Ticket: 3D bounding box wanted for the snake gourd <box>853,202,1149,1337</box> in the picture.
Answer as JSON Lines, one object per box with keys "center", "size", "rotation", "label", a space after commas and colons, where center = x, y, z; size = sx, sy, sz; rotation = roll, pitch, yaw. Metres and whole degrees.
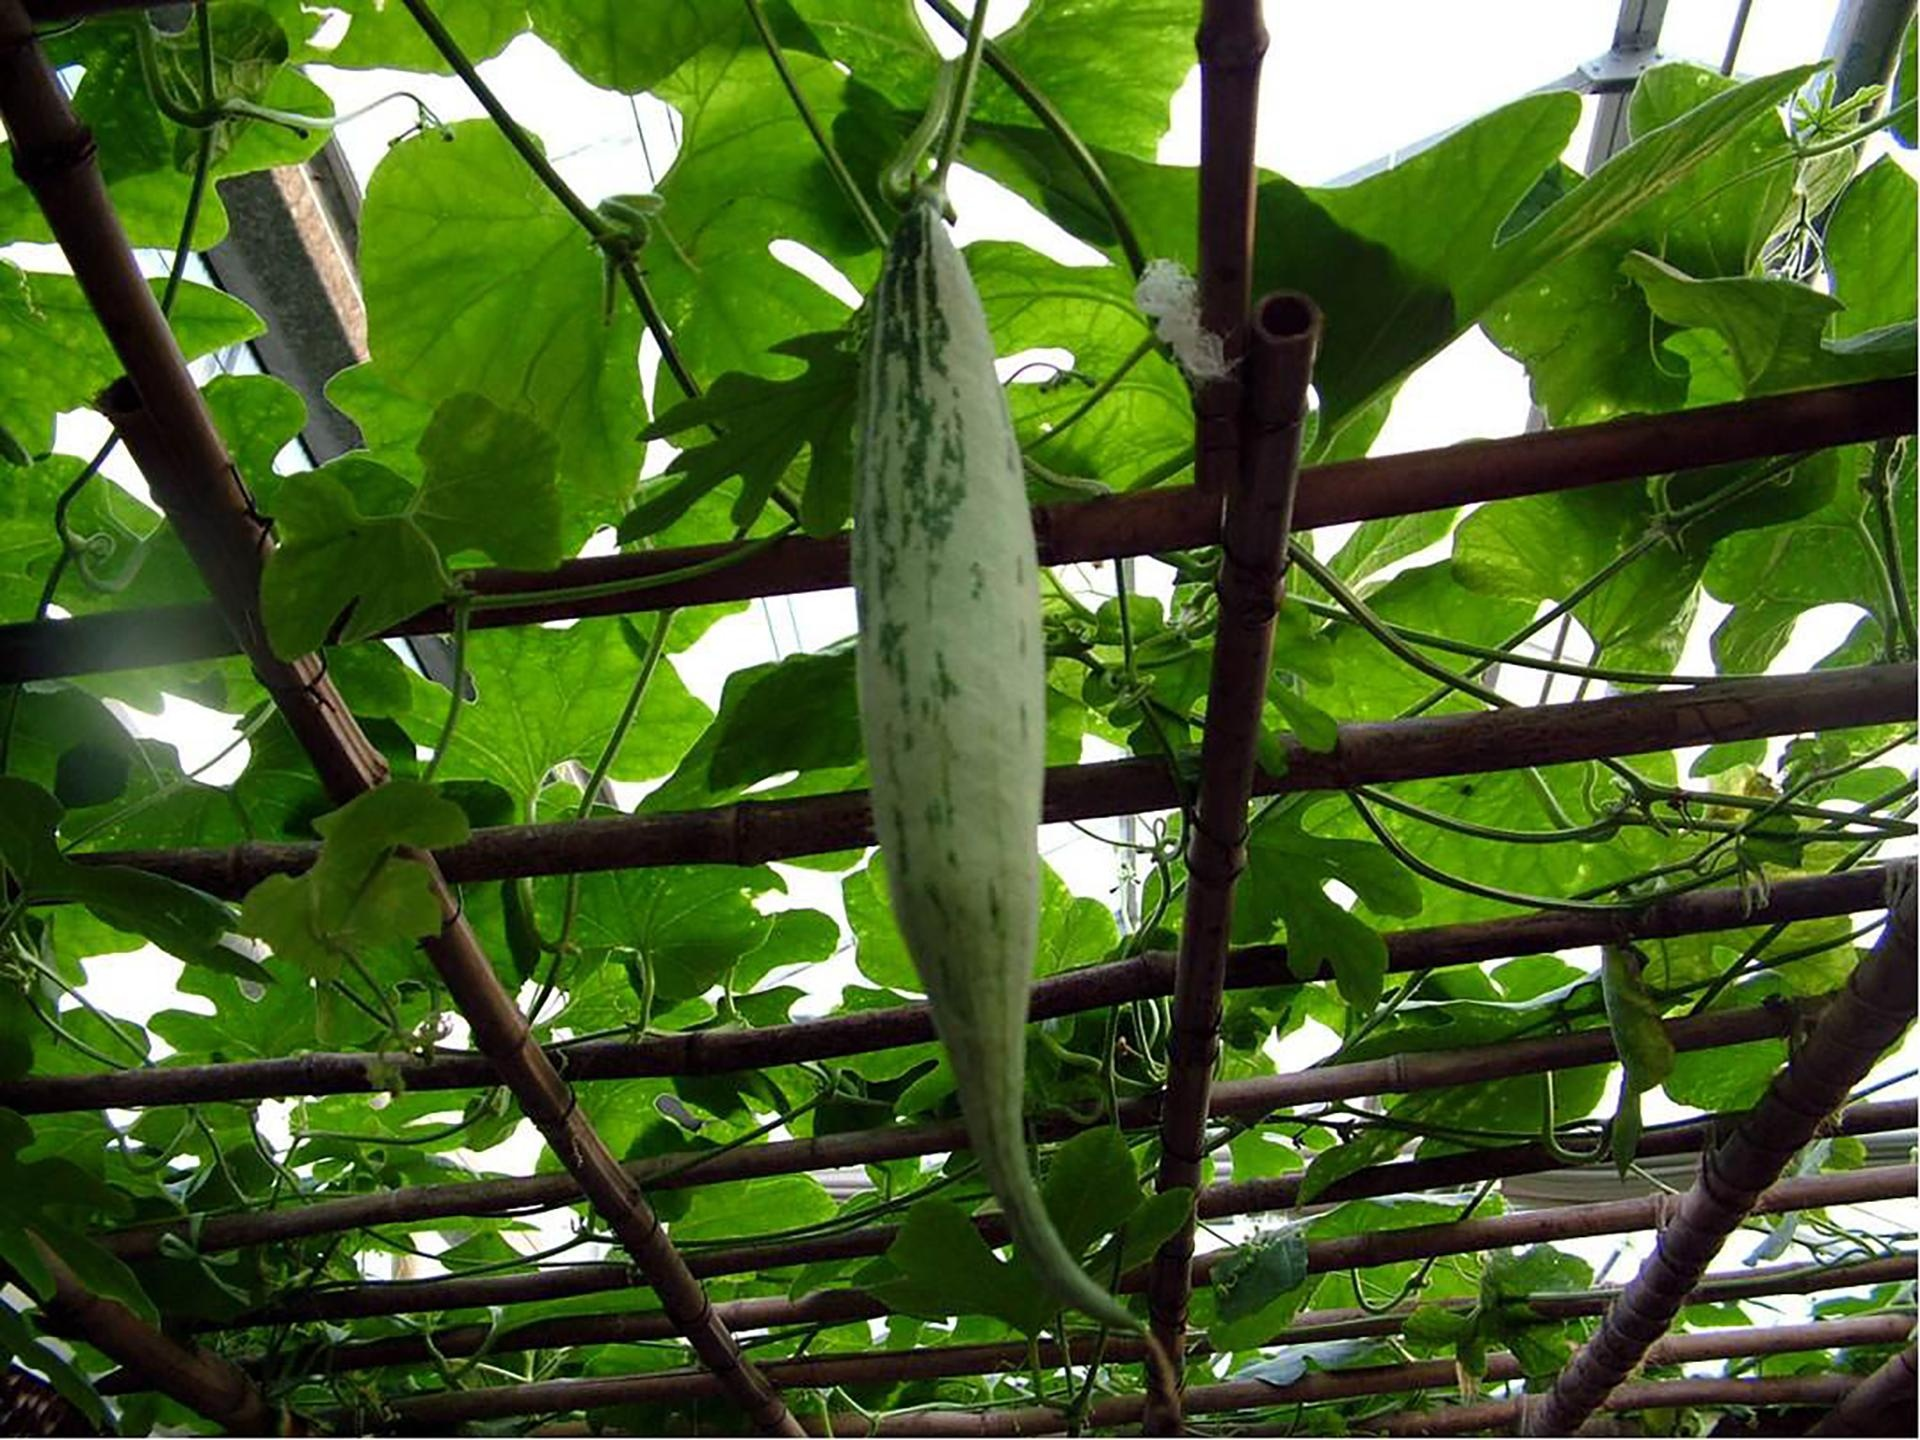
{"center": [-0.001, -0.007, 1.159], "size": [0.101, 0.686, 0.100], "rotation": [-11, -17, 18], "label": "snake gourd"}
